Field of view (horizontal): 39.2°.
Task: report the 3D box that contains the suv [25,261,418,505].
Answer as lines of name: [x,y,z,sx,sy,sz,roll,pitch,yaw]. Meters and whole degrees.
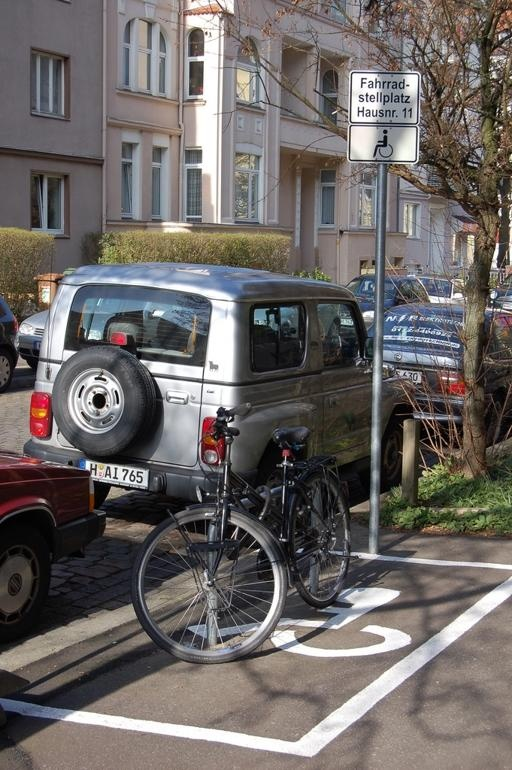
suv: [-0.079,-0.095,5.705,1.644,1.616,2.991,3,9,35]

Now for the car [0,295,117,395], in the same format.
car: [-4.135,-0.884,13.465,1.177,1.270,2.407,1,-1,27]

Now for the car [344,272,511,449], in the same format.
car: [2.297,-0.425,8.829,1.717,1.412,2.968,1,9,25]
